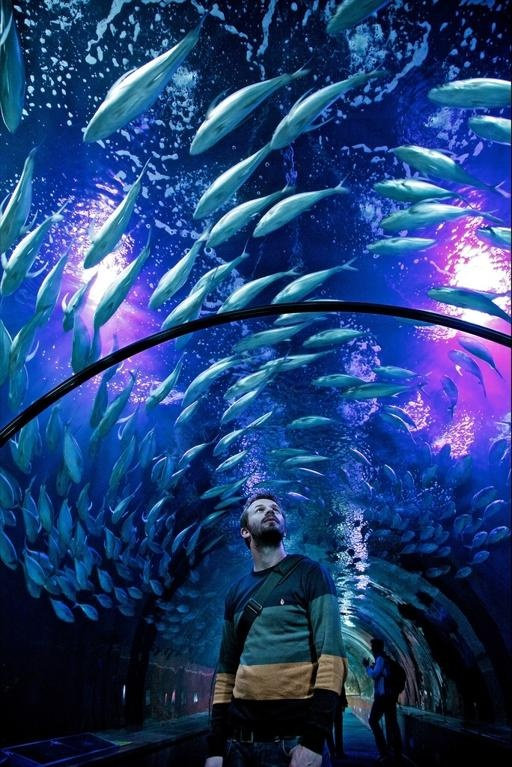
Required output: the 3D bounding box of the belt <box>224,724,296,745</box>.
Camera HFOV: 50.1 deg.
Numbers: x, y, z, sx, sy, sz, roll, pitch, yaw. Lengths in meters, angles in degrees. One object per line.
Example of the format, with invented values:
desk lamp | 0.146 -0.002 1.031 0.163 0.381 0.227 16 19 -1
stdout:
belt | 0.020 1.599 2.487 0.171 0.040 0.167 -6 -43 15
